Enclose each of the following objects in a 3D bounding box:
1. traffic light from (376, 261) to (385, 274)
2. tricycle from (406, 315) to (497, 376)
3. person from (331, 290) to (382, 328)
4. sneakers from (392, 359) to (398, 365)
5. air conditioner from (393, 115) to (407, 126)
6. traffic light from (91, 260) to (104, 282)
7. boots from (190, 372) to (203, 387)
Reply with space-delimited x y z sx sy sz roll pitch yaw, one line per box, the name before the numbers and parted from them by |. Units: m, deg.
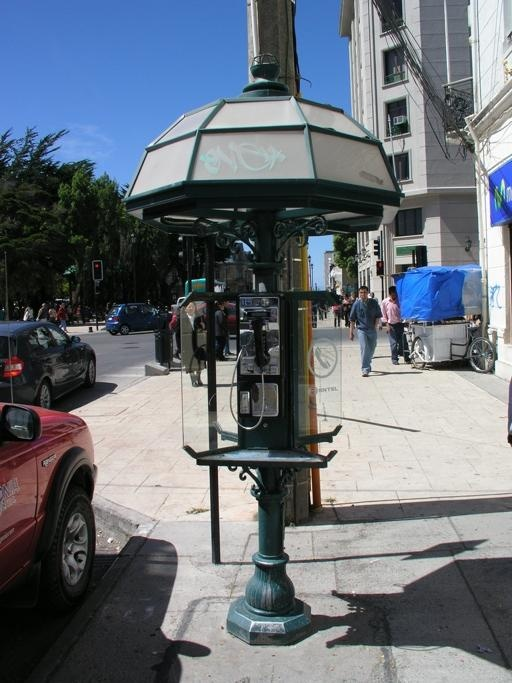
traffic light | 6.469 -3.844 30.533 0.294 0.735 1.306 -2 4 8
tricycle | 4.498 0.099 13.202 0.971 0.792 1.434 -4 7 -29
person | 2.352 -0.641 12.585 0.655 0.761 0.680 -2 4 11
sneakers | 3.486 0.528 14.605 0.109 0.087 0.094 -6 -2 43
air conditioner | 8.899 -13.687 36.335 0.461 0.618 0.939 -5 5 -31
traffic light | -9.364 -4.135 34.439 0.424 1.083 1.238 -4 4 -23
boots | -0.347 0.221 3.402 0.048 0.113 0.093 10 -21 -42
